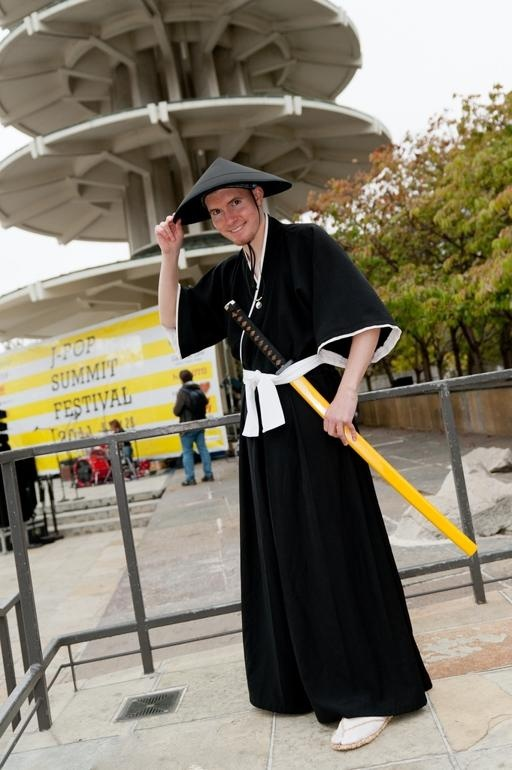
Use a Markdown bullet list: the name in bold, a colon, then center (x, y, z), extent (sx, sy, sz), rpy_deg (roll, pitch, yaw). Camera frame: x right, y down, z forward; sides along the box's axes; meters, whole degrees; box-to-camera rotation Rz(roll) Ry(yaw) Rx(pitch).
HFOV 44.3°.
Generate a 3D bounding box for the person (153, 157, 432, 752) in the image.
- **person**: center (0.102, 0.117, 1.942), extent (0.400, 1.310, 0.823), rpy_deg (-7, -8, -42)

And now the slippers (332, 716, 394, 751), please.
- **slippers**: center (0.278, 0.931, 1.702), extent (0.142, 0.051, 0.067), rpy_deg (11, -25, -39)
